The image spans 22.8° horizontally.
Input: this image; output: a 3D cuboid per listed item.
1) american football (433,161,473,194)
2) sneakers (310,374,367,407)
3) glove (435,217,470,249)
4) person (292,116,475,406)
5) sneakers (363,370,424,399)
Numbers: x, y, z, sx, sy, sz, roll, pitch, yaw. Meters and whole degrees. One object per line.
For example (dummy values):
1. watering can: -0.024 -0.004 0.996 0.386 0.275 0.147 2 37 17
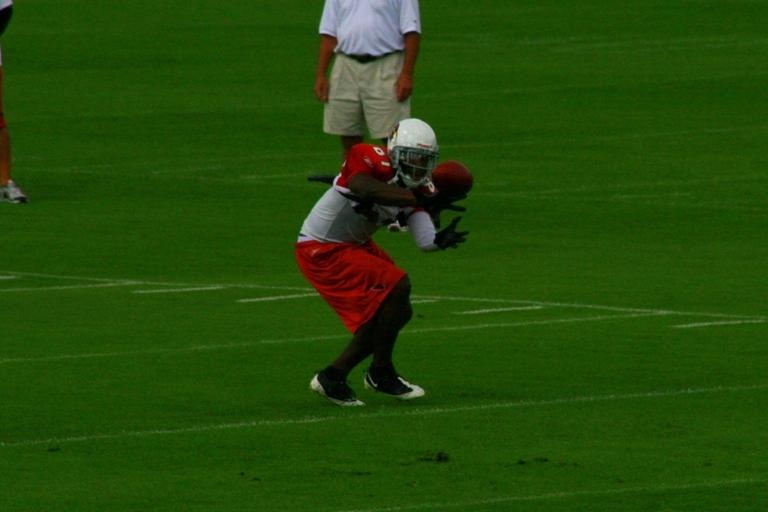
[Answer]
1. american football: 0.592 -0.686 17.335 0.451 0.259 0.295 11 -11 -23
2. sneakers: -0.438 1.210 17.334 0.602 0.219 0.202 24 5 -42
3. glove: 0.647 -0.190 17.981 0.343 0.190 0.111 -28 -22 31
4. person: -0.077 0.063 17.236 1.425 2.599 0.645 7 15 -3
5. sneakers: 0.120 1.177 17.404 0.645 0.204 0.204 8 24 6
